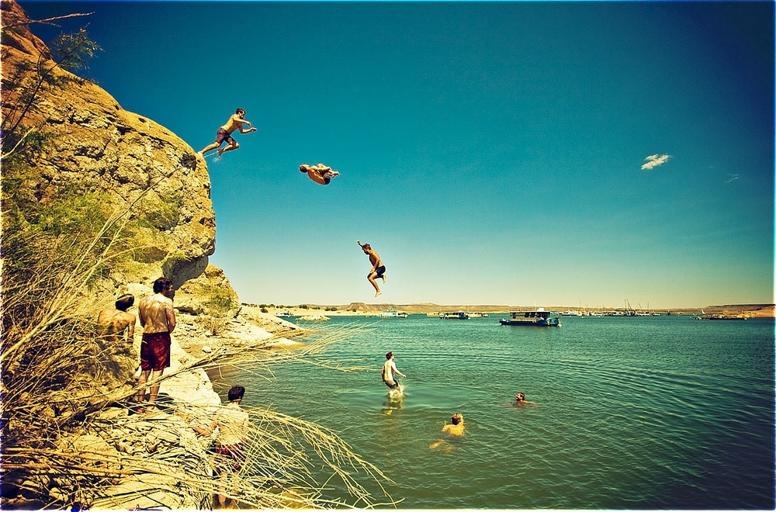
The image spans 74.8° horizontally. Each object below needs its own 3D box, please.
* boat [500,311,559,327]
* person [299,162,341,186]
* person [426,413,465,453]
[{"bbox_3d":[31.332,14.135,114.070,4.211,3.277,13.224,3,-7,-30],"label":"boat"},{"bbox_3d":[-2.424,-2.867,17.877,1.114,0.987,1.495,1,-6,-12],"label":"person"},{"bbox_3d":[2.855,8.123,23.275,0.728,1.353,2.674,-2,7,32],"label":"person"}]
